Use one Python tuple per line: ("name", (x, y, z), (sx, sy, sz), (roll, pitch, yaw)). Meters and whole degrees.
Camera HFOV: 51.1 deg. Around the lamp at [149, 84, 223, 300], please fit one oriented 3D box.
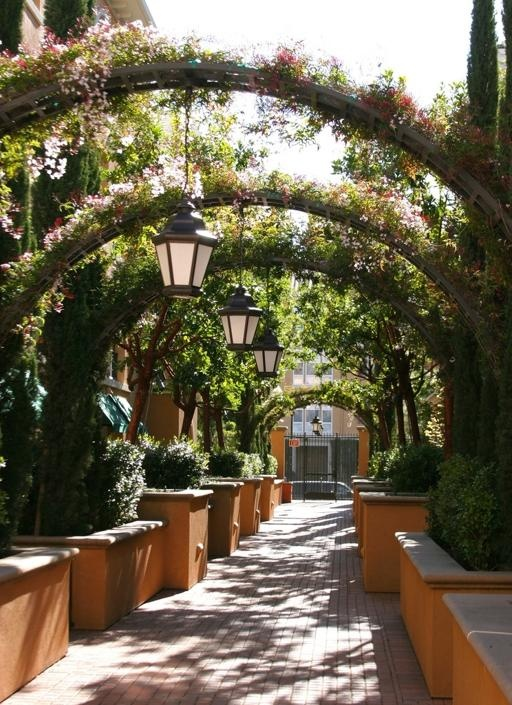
("lamp", (-0.577, -1.375, 4.584), (0.492, 2.118, 1.197), (4, -13, -8))
